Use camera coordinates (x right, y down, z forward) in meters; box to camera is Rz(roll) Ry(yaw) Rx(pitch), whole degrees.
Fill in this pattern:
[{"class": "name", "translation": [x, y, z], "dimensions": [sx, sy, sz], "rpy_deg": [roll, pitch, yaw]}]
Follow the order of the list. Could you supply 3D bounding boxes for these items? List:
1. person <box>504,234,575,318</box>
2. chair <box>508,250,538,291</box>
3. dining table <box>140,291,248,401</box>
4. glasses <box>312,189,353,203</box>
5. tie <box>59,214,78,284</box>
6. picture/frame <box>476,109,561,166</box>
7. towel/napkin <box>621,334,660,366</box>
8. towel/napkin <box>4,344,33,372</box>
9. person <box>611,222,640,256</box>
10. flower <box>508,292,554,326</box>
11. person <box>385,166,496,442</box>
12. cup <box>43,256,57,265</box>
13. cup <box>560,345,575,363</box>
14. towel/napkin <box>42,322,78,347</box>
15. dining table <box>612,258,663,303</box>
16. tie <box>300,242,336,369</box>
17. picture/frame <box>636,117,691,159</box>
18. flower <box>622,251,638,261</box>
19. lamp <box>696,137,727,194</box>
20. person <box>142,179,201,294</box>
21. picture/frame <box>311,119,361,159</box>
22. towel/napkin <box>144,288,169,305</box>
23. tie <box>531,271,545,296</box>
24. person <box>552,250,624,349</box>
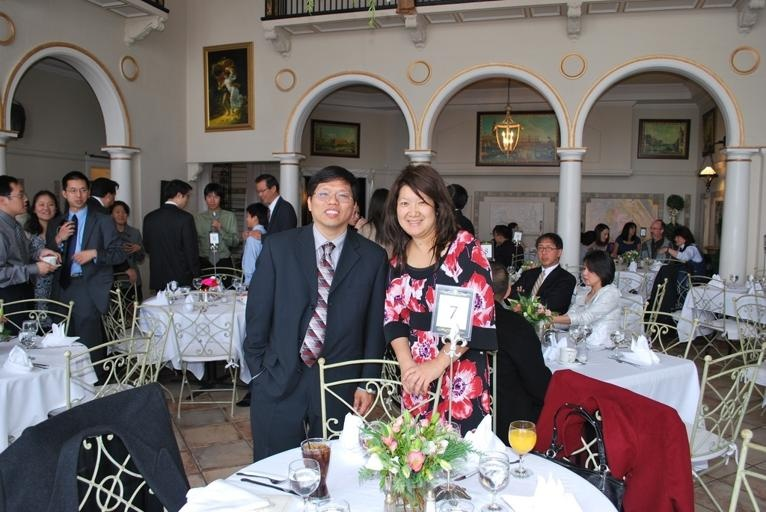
[{"class": "person", "translation": [1.592, 0.214, 5.747], "dimensions": [0.654, 0.918, 0.657], "rpy_deg": [3, 8, -17]}, {"class": "chair", "translation": [2.015, 0.196, 8.160], "dimensions": [0.508, 0.428, 0.535], "rpy_deg": [2, 3, 17]}, {"class": "dining table", "translation": [-1.945, 0.787, 6.153], "dimensions": [1.053, 1.478, 1.109], "rpy_deg": [2, 42, -12]}, {"class": "glasses", "translation": [-0.308, -0.366, 3.435], "dimensions": [0.216, 0.072, 0.049], "rpy_deg": [0, 6, -8]}, {"class": "tie", "translation": [-3.230, 0.045, 5.730], "dimensions": [0.161, 0.555, 0.089], "rpy_deg": [-2, 6, -29]}, {"class": "picture/frame", "translation": [3.138, -2.714, 12.663], "dimensions": [1.735, 1.361, 0.073], "rpy_deg": [2, 9, 13]}, {"class": "towel/napkin", "translation": [2.066, 0.763, 4.476], "dimensions": [0.195, 0.113, 0.266], "rpy_deg": [-12, -1, 15]}, {"class": "towel/napkin", "translation": [-2.727, 0.769, 4.169], "dimensions": [0.173, 0.071, 0.187], "rpy_deg": [6, 20, -1]}, {"class": "person", "translation": [4.991, -0.316, 11.479], "dimensions": [0.480, 0.793, 0.415], "rpy_deg": [0, 16, -3]}, {"class": "flower", "translation": [1.241, 0.442, 4.806], "dimensions": [0.303, 0.191, 0.311], "rpy_deg": [18, -21, -17]}, {"class": "person", "translation": [0.329, 0.272, 3.378], "dimensions": [0.702, 1.643, 0.520], "rpy_deg": [2, 5, 11]}, {"class": "cup", "translation": [-3.064, 0.037, 5.124], "dimensions": [0.065, 0.069, 0.086], "rpy_deg": [2, -1, -28]}, {"class": "cup", "translation": [1.467, 0.788, 4.455], "dimensions": [0.091, 0.100, 0.123], "rpy_deg": [-1, -8, 9]}, {"class": "towel/napkin", "translation": [-2.762, 0.680, 4.746], "dimensions": [0.198, 0.087, 0.207], "rpy_deg": [6, 10, -20]}, {"class": "dining table", "translation": [4.124, 0.381, 9.161], "dimensions": [0.840, 0.880, 1.098], "rpy_deg": [2, 0, 25]}, {"class": "tie", "translation": [-0.412, 0.295, 3.497], "dimensions": [0.205, 0.760, 0.116], "rpy_deg": [0, 5, -5]}, {"class": "picture/frame", "translation": [6.460, -2.743, 12.811], "dimensions": [0.835, 0.794, 0.070], "rpy_deg": [1, 4, 7]}, {"class": "flower", "translation": [4.470, -0.004, 10.146], "dimensions": [0.172, 0.126, 0.170], "rpy_deg": [1, 1, -43]}, {"class": "lamp", "translation": [6.745, -1.854, 11.518], "dimensions": [0.366, 1.041, 1.593], "rpy_deg": [4, 6, 30]}, {"class": "person", "translation": [-2.828, -0.253, 7.407], "dimensions": [0.745, 1.501, 0.543], "rpy_deg": [0, 5, -3]}, {"class": "picture/frame", "translation": [-1.197, -2.823, 13.334], "dimensions": [0.922, 0.695, 0.037], "rpy_deg": [1, 7, -21]}, {"class": "towel/napkin", "translation": [-2.409, 0.411, 5.998], "dimensions": [0.251, 0.099, 0.196], "rpy_deg": [1, 1, 22]}, {"class": "tie", "translation": [1.594, 0.291, 5.780], "dimensions": [0.055, 0.250, 0.064], "rpy_deg": [23, -23, 15]}, {"class": "person", "translation": [1.887, 0.564, 5.266], "dimensions": [0.603, 1.143, 0.528], "rpy_deg": [0, -1, -16]}]
